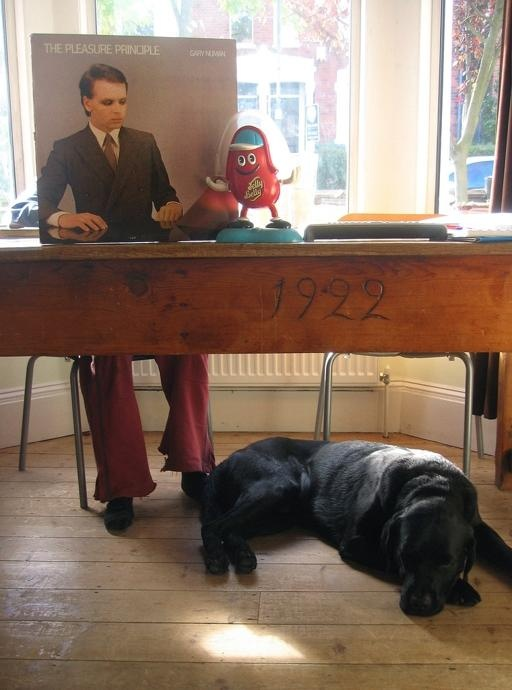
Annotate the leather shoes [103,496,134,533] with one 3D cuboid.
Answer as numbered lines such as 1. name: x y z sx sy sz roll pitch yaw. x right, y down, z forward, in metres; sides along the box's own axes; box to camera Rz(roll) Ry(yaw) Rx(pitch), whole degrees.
1. leather shoes: -0.385 0.475 1.753 0.085 0.061 0.126 -3 7 -15

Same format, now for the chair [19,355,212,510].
1. chair: -0.516 0.254 2.186 0.477 0.604 0.601 1 1 -32

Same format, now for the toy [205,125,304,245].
1. toy: -0.009 -0.277 1.075 0.159 0.214 0.334 -1 7 1
